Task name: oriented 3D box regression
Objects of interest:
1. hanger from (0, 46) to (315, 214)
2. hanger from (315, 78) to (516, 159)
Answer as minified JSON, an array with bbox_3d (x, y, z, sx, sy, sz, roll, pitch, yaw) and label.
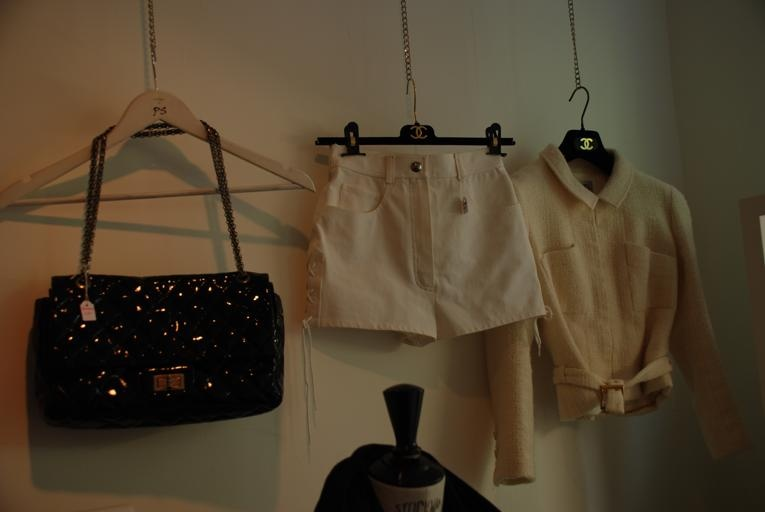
[{"bbox_3d":[-0.651,-0.323,2.092,0.874,0.319,0.142,-4,-1,-7],"label":"hanger"},{"bbox_3d":[0.106,-0.436,2.277,0.645,0.199,0.196,-4,-1,-5],"label":"hanger"}]
